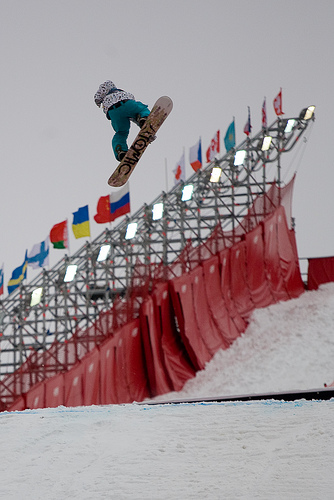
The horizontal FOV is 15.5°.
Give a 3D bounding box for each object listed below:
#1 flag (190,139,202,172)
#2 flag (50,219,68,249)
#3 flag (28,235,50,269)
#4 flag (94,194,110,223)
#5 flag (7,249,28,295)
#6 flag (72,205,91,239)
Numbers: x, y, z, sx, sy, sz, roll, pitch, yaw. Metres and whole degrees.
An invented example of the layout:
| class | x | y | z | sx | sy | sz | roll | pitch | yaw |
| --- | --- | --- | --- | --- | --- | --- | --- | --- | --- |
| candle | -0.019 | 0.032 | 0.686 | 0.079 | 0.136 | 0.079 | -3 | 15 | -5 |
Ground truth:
| class | x | y | z | sx | sy | sz | roll | pitch | yaw |
| --- | --- | --- | --- | --- | --- | --- | --- | --- | --- |
| flag | 1.002 | -3.258 | 42.442 | 0.370 | 1.055 | 0.571 | 1 | 2 | 1 |
| flag | -3.688 | -0.510 | 41.570 | 0.698 | 0.935 | 0.455 | 0 | 2 | -32 |
| flag | -4.665 | 0.122 | 43.486 | 0.840 | 1.281 | 0.032 | -12 | -34 | 14 |
| flag | -2.287 | -1.384 | 41.789 | 0.613 | 0.903 | 0.639 | 0 | 2 | -21 |
| flag | -5.485 | 0.819 | 43.984 | 0.698 | 1.576 | 3.490 | 0 | 2 | -8 |
| flag | -3.008 | -0.908 | 41.680 | 0.680 | 1.378 | 0.064 | -10 | -30 | 0 |
